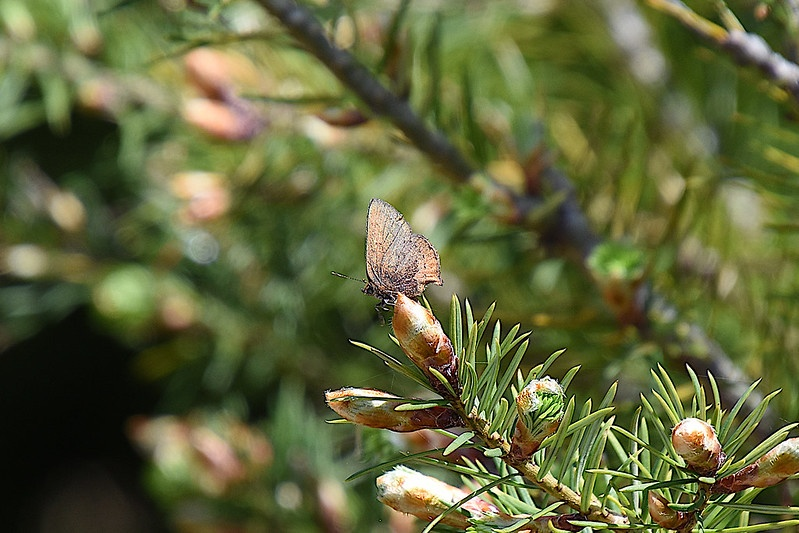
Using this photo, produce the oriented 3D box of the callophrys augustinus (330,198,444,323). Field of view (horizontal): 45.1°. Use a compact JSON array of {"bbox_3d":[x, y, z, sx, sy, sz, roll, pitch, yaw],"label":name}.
[{"bbox_3d":[-0.029,-0.008,1.618,0.180,0.203,0.191,-9,97,2],"label":"callophrys augustinus"}]
